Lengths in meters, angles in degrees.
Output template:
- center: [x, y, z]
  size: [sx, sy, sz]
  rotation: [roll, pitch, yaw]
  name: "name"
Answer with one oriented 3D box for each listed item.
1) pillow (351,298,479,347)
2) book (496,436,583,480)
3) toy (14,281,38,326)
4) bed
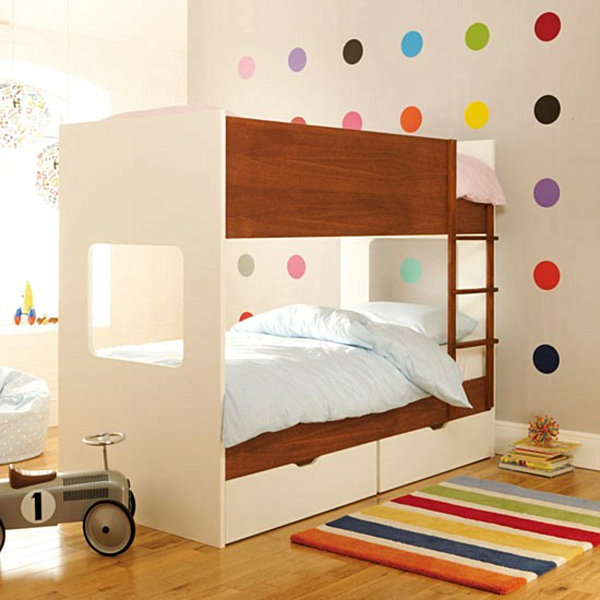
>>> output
- center: [0.616, 0.165, 3.096]
  size: [0.626, 0.138, 0.333]
  rotation: [-3, -10, -39]
  name: "pillow"
- center: [1.149, 0.721, 2.882]
  size: [0.203, 0.062, 0.216]
  rotation: [2, 4, 42]
  name: "book"
- center: [-1.787, 0.019, 3.987]
  size: [0.136, 0.286, 0.230]
  rotation: [0, -1, -25]
  name: "toy"
- center: [0.061, 0.061, 2.816]
  size: [1.075, 1.409, 1.872]
  rotation: [4, 4, 43]
  name: "bed"
